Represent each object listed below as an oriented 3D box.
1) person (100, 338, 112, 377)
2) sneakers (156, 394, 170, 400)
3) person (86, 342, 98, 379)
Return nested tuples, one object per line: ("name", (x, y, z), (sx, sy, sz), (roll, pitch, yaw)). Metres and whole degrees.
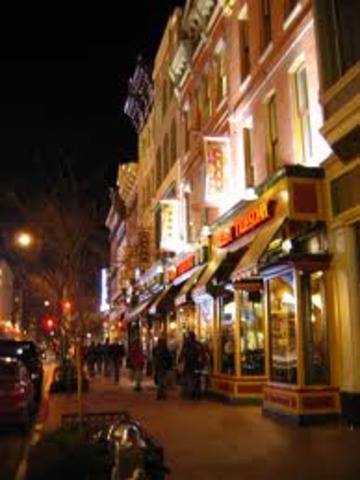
("person", (-3.696, 6.047, 23.241), (0.535, 2.435, 0.629), (2, 21, -1))
("sneakers", (-0.474, 4.505, 13.180), (0.364, 0.228, 0.134), (0, -1, -36))
("person", (-4.426, 5.990, 22.881), (0.536, 1.894, 2.956), (2, -20, -10))
